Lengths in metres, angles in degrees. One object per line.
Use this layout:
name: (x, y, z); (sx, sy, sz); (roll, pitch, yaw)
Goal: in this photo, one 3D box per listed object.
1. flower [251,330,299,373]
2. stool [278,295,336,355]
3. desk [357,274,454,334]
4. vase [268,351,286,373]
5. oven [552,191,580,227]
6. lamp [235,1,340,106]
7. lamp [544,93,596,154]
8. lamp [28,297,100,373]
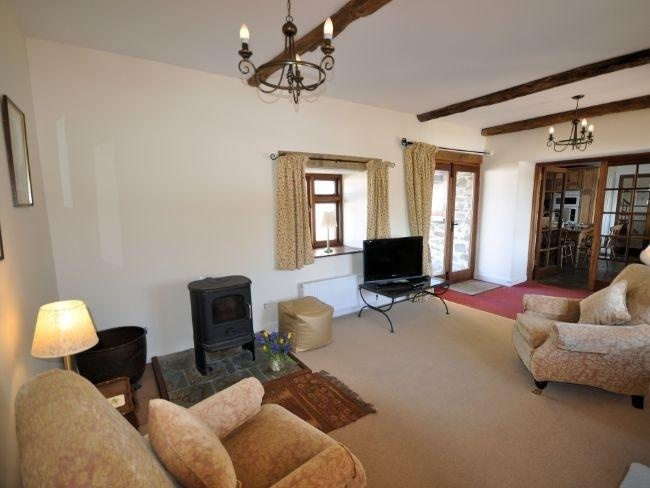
flower: (-0.494, 1.030, 4.483); (0.373, 0.426, 0.394); (1, -1, -37)
stool: (-0.174, 0.863, 4.965); (0.515, 0.483, 0.540); (-1, 8, -34)
desk: (1.130, 0.680, 5.868); (1.432, 0.519, 0.924); (-6, 9, -32)
vase: (-0.462, 1.153, 4.408); (0.190, 0.267, 0.168); (3, 8, -9)
oven: (4.663, -0.654, 8.600); (0.398, 0.679, 0.331); (3, -13, 37)
lamp: (-0.337, -1.668, 3.795); (0.615, 0.906, 0.600); (-7, 19, -27)
lamp: (3.314, -1.579, 6.030); (0.554, 0.838, 0.618); (1, 2, -37)
lamp: (-1.896, 0.659, 3.241); (0.432, 0.548, 0.470); (0, -5, 8)
